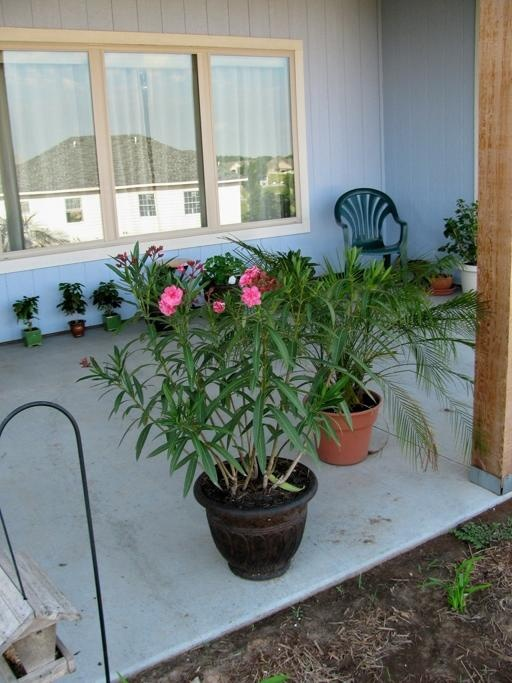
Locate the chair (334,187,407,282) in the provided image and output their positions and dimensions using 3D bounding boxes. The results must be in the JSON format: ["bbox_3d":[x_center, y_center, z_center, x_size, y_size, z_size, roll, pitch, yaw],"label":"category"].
[{"bbox_3d":[1.331,-1.183,5.899,0.845,1.013,0.849,-2,3,-10],"label":"chair"}]

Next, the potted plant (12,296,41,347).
[{"bbox_3d":[-2.021,-0.175,4.514,0.229,0.419,0.214,-18,8,-26],"label":"potted plant"}]

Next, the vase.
[{"bbox_3d":[0.010,0.605,1.665,0.378,0.258,0.363,-4,3,-28],"label":"vase"}]

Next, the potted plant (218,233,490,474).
[{"bbox_3d":[0.300,0.112,2.153,1.151,0.859,0.941,1,5,-41],"label":"potted plant"}]
